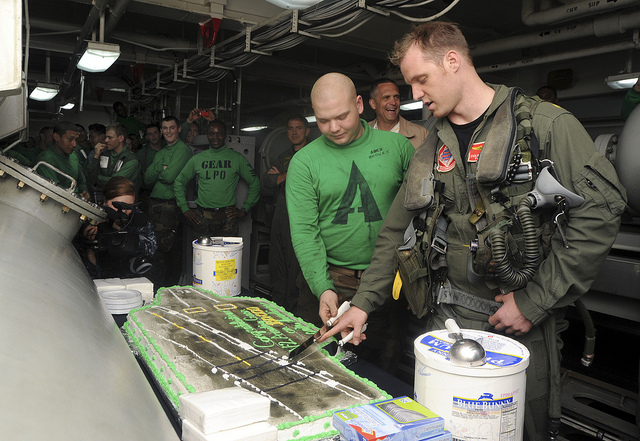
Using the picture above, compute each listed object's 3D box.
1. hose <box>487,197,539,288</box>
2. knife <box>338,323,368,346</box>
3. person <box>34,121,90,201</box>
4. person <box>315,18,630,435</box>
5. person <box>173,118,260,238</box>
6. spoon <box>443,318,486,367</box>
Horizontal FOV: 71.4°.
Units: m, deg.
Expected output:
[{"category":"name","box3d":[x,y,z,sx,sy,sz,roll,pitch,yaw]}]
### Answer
[{"category":"hose","box3d":[0.801,0.080,1.858,0.217,0.361,0.053,-9,7,-11]},{"category":"knife","box3d":[0.166,0.509,2.011,0.047,0.041,0.241,28,28,24]},{"category":"person","box3d":[-3.190,-0.800,5.533,0.504,0.909,1.308,-5,8,-29]},{"category":"person","box3d":[0.706,0.046,1.966,1.055,1.857,0.457,3,8,29]},{"category":"person","box3d":[-1.391,-0.576,6.049,1.004,1.626,0.798,5,9,39]},{"category":"spoon","box3d":[0.473,0.393,1.441,0.111,0.063,0.245,1,7,13]}]
